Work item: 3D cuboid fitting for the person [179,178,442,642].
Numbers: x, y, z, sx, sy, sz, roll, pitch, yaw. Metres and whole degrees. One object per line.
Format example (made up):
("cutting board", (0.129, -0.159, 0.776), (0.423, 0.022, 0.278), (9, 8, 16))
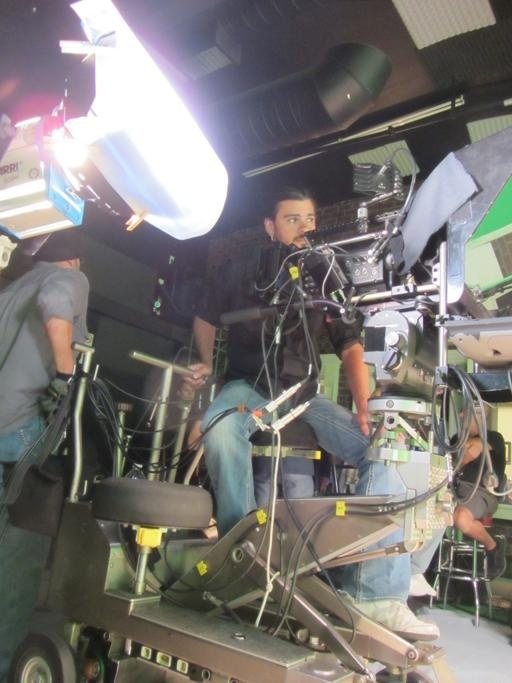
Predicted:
("person", (0.142, 0.052, 2.024), (0.798, 1.181, 1.501), (2, 1, -8))

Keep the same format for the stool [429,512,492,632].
("stool", (1.374, 1.456, 3.605), (0.300, 0.653, 0.283), (-2, -1, 16))

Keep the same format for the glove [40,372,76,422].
("glove", (-0.763, 0.217, 2.062), (0.071, 0.076, 0.211), (35, -56, -19))

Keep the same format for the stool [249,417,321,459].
("stool", (0.104, 0.384, 1.996), (0.221, 0.140, 0.161), (2, -21, 3))

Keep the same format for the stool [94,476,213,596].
("stool", (-0.304, 0.548, 1.499), (0.350, 0.301, 0.326), (9, -17, -9))

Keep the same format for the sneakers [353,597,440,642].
("sneakers", (0.377, 0.764, 1.472), (0.227, 0.083, 0.118), (2, 1, 14))
